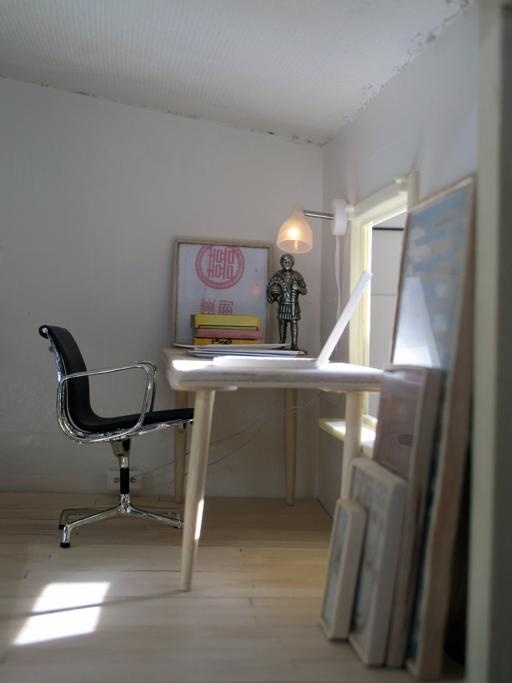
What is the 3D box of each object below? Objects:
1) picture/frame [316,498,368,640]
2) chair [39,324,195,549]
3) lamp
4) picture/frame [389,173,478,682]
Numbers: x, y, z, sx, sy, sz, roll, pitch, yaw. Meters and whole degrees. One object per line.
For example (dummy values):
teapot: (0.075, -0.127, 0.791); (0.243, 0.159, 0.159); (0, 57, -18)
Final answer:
picture/frame: (0.234, 0.640, 1.503); (0.053, 0.323, 0.175); (16, -20, 0)
chair: (-0.594, 0.388, 2.366); (0.627, 0.898, 0.584); (0, -3, -20)
lamp: (0.230, -0.548, 2.602); (0.346, 0.280, 0.187); (1, 3, -19)
picture/frame: (0.461, 0.181, 1.465); (0.190, 1.248, 0.423); (1, -3, 14)
